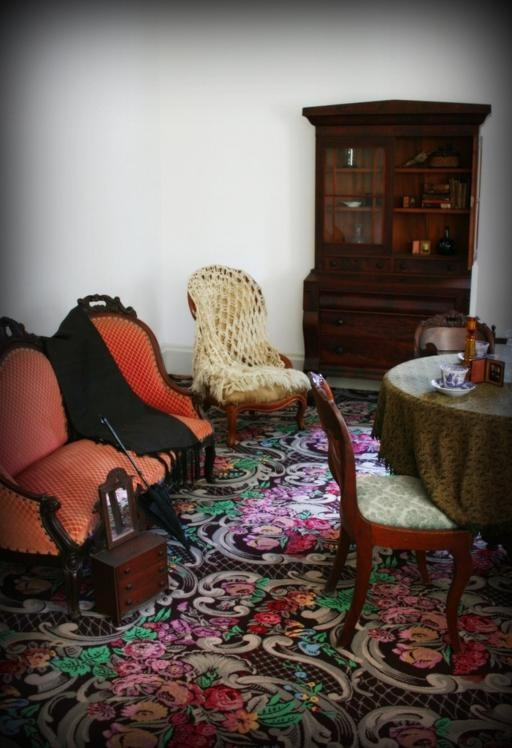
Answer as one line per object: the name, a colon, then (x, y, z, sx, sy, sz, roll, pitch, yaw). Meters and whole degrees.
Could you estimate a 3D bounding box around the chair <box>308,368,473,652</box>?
chair: (0.413, 0.383, 1.788, 0.456, 0.804, 0.388, 2, 9, 17)

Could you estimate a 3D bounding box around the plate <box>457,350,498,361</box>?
plate: (0.908, -0.073, 2.408, 0.089, 0.020, 0.093, 9, 15, 40)

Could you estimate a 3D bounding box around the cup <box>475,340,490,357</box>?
cup: (0.915, -0.103, 2.393, 0.068, 0.053, 0.074, 0, 5, 0)

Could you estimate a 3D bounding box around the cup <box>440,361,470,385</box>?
cup: (0.722, -0.006, 2.141, 0.092, 0.064, 0.088, -2, 13, 1)

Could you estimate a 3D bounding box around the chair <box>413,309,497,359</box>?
chair: (1.009, -0.201, 3.068, 0.322, 0.402, 0.288, 0, 13, 10)

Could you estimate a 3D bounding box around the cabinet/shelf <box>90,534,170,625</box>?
cabinet/shelf: (-0.419, 0.670, 1.922, 0.121, 0.199, 0.225, 12, 23, 35)

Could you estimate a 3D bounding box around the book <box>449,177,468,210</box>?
book: (1.415, -1.260, 4.140, 0.122, 0.199, 0.046, 2, 9, 20)
